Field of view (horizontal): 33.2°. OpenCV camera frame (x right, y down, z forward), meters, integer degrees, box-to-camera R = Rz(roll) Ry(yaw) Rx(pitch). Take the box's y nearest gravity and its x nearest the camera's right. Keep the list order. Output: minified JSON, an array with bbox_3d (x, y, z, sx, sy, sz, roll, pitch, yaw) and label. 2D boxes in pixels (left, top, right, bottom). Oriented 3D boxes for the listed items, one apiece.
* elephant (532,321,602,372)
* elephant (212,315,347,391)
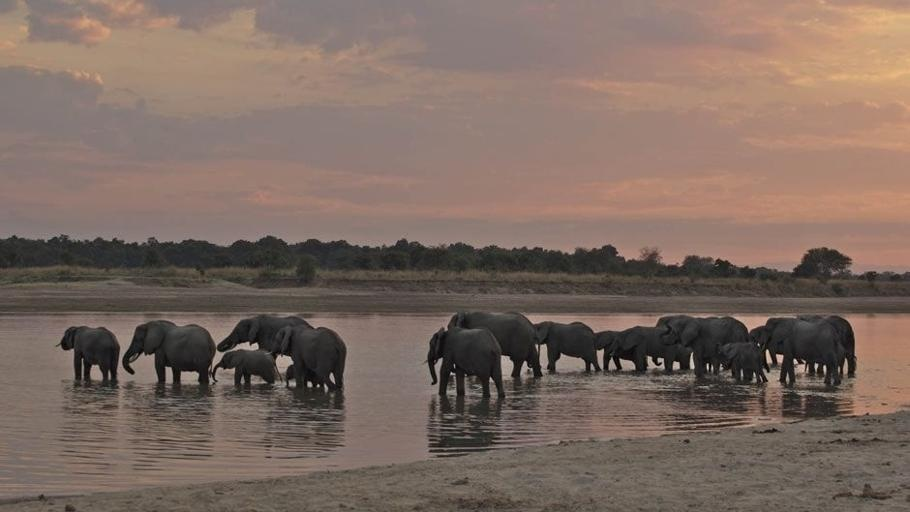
[{"bbox_3d":[6.980,4.701,83.857,5.867,2.581,1.573,2,-6,1],"label":"elephant"},{"bbox_3d":[-8.720,5.229,80.367,6.389,4.078,4.777,1,-2,-3],"label":"elephant"}]
